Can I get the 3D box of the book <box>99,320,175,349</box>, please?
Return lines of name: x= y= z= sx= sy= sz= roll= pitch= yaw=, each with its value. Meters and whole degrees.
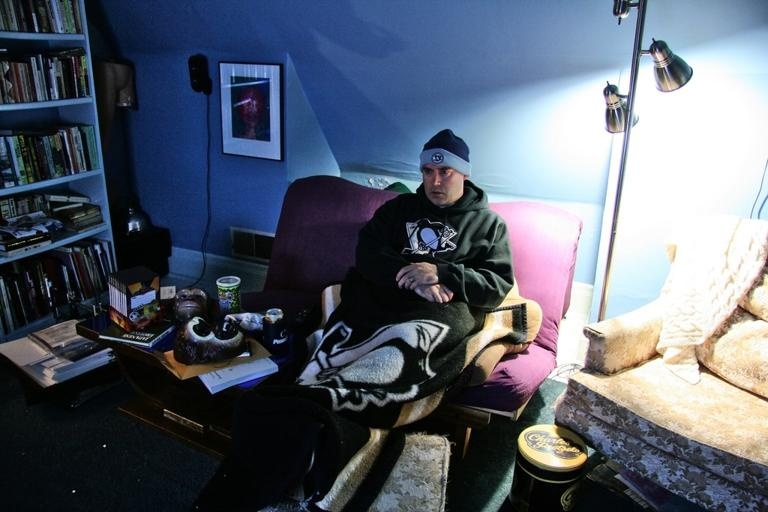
book: x=-1.107 y=0.352 z=2.351 sx=0.148 sy=0.019 sz=0.160 roll=9 pitch=19 yaw=17

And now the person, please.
person: x=0.116 y=0.104 z=2.491 sx=1.000 sy=0.569 sz=1.664 roll=8 pitch=43 yaw=25

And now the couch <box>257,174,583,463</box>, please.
couch: x=0.140 y=0.583 z=3.013 sx=1.865 sy=1.145 sz=1.202 roll=12 pitch=23 yaw=12

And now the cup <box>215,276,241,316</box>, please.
cup: x=-0.742 y=0.196 z=2.510 sx=0.115 sy=0.167 sz=0.114 roll=3 pitch=24 yaw=-1

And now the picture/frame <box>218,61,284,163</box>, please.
picture/frame: x=-0.843 y=-0.964 z=3.382 sx=0.555 sy=0.648 sz=0.046 roll=14 pitch=29 yaw=25
